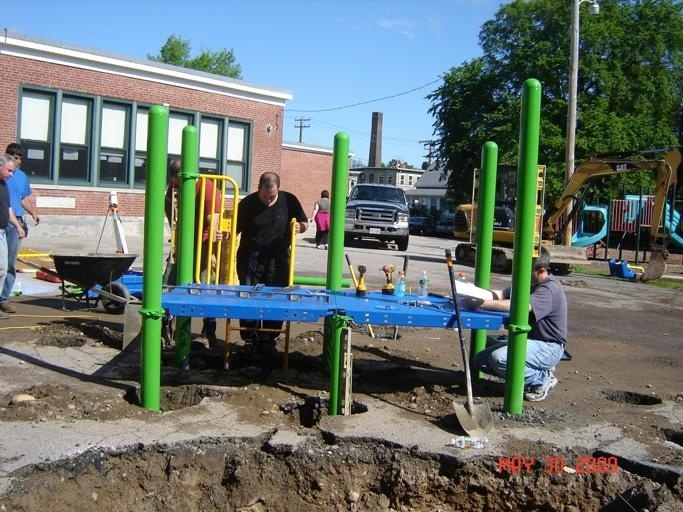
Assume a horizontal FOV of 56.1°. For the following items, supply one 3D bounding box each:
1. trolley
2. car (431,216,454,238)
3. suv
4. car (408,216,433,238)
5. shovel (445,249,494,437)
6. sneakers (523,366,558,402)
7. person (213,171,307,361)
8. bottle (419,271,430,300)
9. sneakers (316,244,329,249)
[{"bbox_3d":[-3.388,0.328,8.435,1.722,0.593,0.700,3,0,25],"label":"trolley"},{"bbox_3d":[6.466,-1.865,41.048,1.597,1.298,3.033,1,13,11],"label":"car"},{"bbox_3d":[1.284,-1.645,23.849,2.506,2.171,4.874,5,6,0],"label":"suv"},{"bbox_3d":[5.167,-1.974,42.466,1.327,0.988,2.780,3,10,19],"label":"car"},{"bbox_3d":[1.151,0.803,5.751,0.465,1.339,0.973,6,8,6],"label":"shovel"},{"bbox_3d":[2.066,1.299,6.491,0.526,0.232,0.195,-14,11,-42],"label":"sneakers"},{"bbox_3d":[-0.838,0.088,7.398,0.779,2.077,0.828,2,9,-16],"label":"person"},{"bbox_3d":[0.899,0.303,6.951,0.089,0.291,0.525,6,8,9],"label":"bottle"},{"bbox_3d":[-0.599,-0.286,20.182,0.433,0.237,0.163,-1,-3,12],"label":"sneakers"}]
